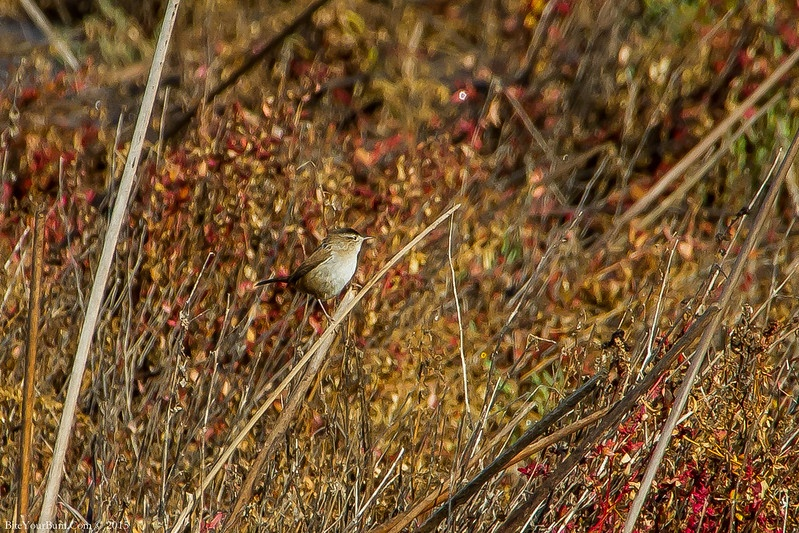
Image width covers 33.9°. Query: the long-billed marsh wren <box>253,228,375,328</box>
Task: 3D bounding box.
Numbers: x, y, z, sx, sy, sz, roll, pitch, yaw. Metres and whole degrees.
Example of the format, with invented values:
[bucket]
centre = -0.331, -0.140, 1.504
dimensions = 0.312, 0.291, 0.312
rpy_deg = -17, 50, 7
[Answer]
[long-billed marsh wren]
centre = -0.487, 0.003, 8.935
dimensions = 0.939, 0.814, 0.429
rpy_deg = 8, 3, 2
